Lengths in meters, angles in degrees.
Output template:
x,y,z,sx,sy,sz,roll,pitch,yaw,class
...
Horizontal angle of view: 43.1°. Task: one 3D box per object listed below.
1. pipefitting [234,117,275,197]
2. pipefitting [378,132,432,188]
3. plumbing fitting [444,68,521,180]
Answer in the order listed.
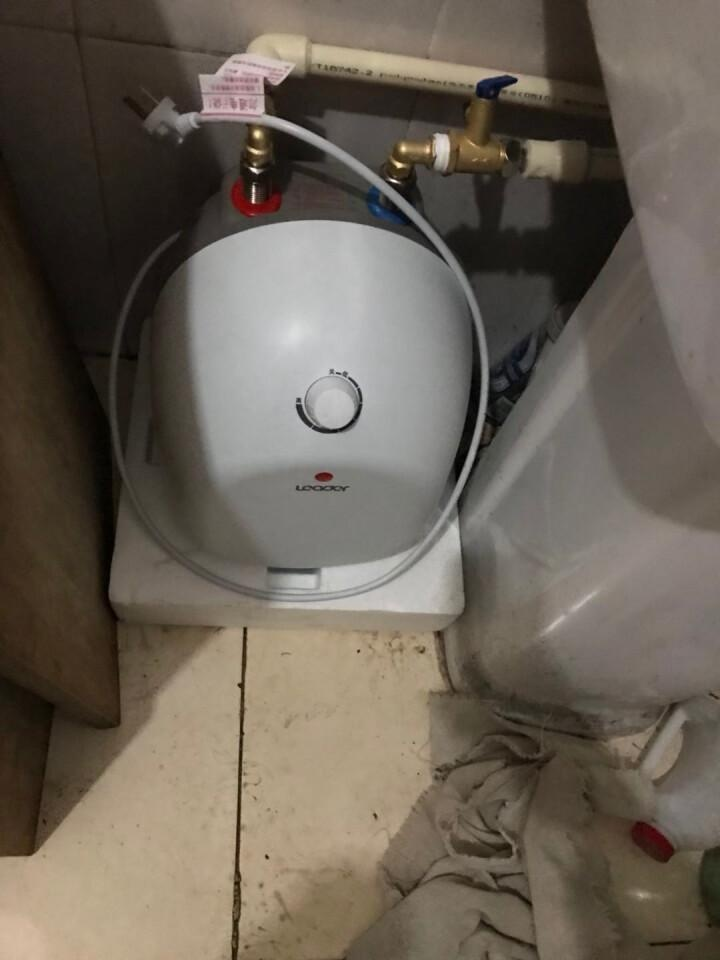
x,y,z,sx,sy,sz,roll,pitch,yaw,class
-0.081,-0.247,0.721,0.027,0.065,0.036,-5,60,-5,pipefitting
0.037,-0.253,0.732,0.042,0.062,0.030,-10,89,-5,pipefitting
0.096,-0.275,0.718,0.058,0.082,0.034,7,51,1,plumbing fitting
